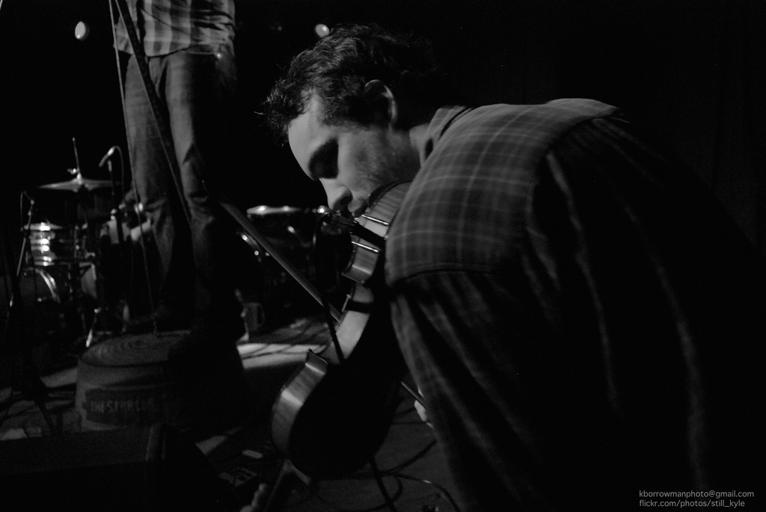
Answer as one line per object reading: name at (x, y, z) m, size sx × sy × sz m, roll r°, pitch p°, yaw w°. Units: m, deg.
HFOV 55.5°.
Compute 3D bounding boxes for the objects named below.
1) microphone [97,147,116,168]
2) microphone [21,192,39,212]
microphone at (-1.198, -0.432, 3.163) m, size 0.107 × 0.025 × 0.054 m, roll -44°, pitch -13°, yaw 9°
microphone at (-1.678, -0.269, 3.455) m, size 0.029 × 0.088 × 0.076 m, roll 2°, pitch 12°, yaw 18°
